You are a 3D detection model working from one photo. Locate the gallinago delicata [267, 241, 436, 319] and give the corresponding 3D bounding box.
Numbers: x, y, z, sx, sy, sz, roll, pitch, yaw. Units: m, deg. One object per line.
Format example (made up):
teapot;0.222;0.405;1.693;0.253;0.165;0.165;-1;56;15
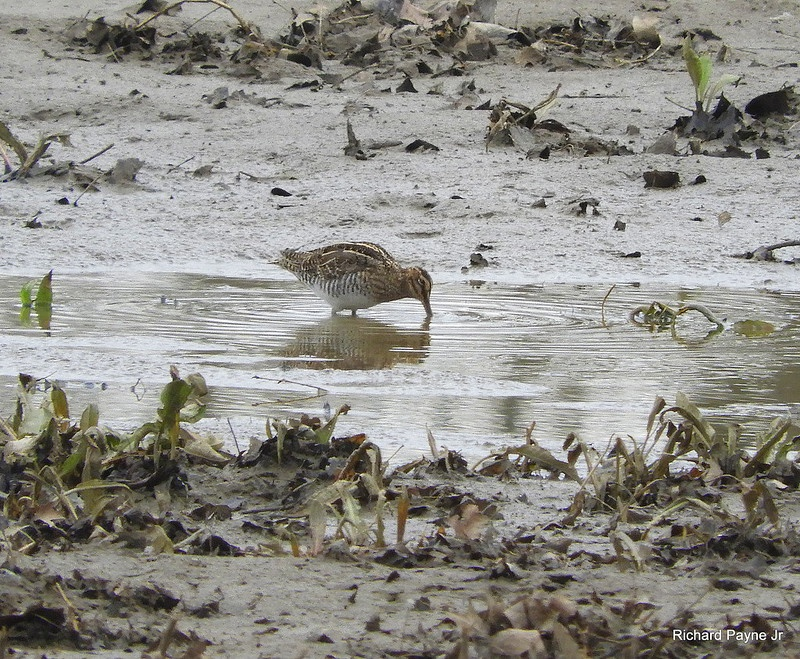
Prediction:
gallinago delicata;-0.340;-0.390;8.627;1.471;0.521;0.572;16;15;25
